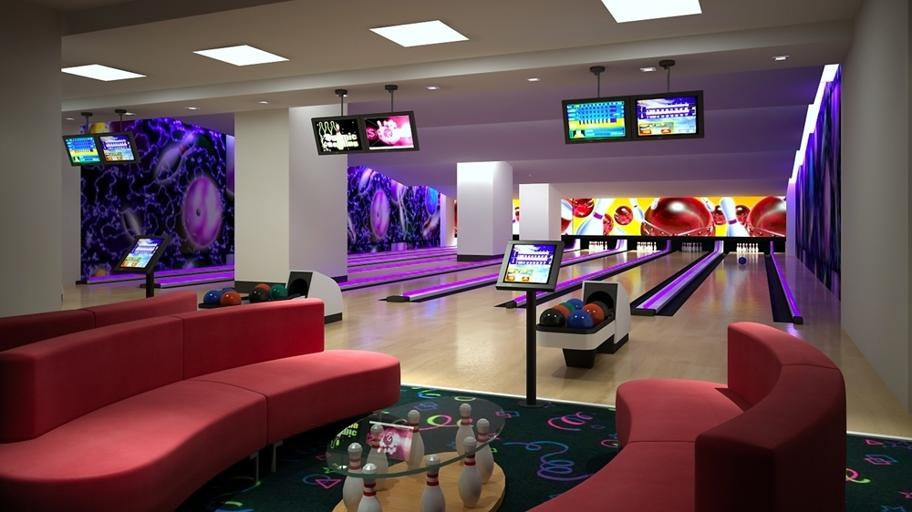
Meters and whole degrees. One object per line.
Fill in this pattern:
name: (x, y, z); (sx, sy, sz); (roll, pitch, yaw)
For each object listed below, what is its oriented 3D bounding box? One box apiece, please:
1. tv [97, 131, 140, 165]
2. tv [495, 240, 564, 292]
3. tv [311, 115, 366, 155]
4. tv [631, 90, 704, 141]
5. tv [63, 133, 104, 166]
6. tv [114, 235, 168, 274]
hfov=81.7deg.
tv: (-5.434, -1.739, 8.485); (0.675, 0.443, 0.266); (3, 10, 22)
tv: (0.619, 0.075, 4.490); (0.499, 0.399, 0.331); (4, 10, 27)
tv: (-1.718, -1.796, 7.799); (0.983, 0.642, 0.094); (0, 28, 26)
tv: (2.581, -1.715, 6.470); (0.775, 0.501, 0.086); (1, 7, 18)
tv: (-6.084, -1.751, 8.643); (0.841, 0.562, 0.111); (5, 26, 11)
tv: (-3.846, -0.021, 6.484); (0.644, 0.446, 0.561); (1, 1, 23)
